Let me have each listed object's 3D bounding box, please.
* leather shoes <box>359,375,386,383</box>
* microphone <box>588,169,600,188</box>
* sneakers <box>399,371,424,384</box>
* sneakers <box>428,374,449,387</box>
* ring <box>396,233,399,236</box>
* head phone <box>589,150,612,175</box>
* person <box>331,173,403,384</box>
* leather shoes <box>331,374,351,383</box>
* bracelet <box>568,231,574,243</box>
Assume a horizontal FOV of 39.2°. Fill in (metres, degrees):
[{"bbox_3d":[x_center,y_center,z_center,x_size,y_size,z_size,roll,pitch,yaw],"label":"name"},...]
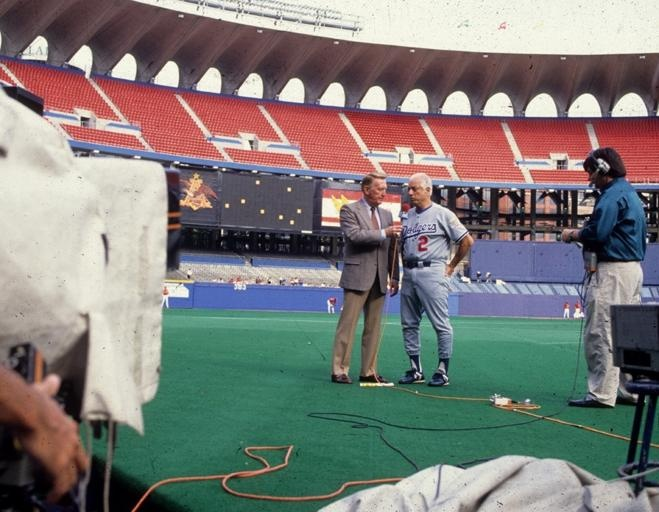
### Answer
[{"bbox_3d":[0.813,2.304,17.636,0.554,0.220,0.184,0,-4,-4],"label":"leather shoes"},{"bbox_3d":[4.880,-1.424,17.106,0.200,0.266,0.206,4,24,-4],"label":"microphone"},{"bbox_3d":[1.550,2.275,17.780,0.526,0.191,0.202,4,-14,-18],"label":"sneakers"},{"bbox_3d":[2.058,2.294,17.562,0.190,0.157,0.376,-8,-16,34],"label":"sneakers"},{"bbox_3d":[1.282,-0.438,17.613,0.056,0.052,0.025,10,9,43],"label":"ring"},{"bbox_3d":[4.923,-1.694,16.919,0.157,0.422,0.351,-48,-41,17],"label":"head phone"},{"bbox_3d":[0.671,0.405,17.817,1.387,3.972,0.658,-2,-5,-1],"label":"person"},{"bbox_3d":[0.208,2.262,17.550,0.328,0.140,0.166,0,-6,1],"label":"leather shoes"},{"bbox_3d":[4.391,-0.363,16.950,0.068,0.174,0.149,13,6,18],"label":"bracelet"}]
